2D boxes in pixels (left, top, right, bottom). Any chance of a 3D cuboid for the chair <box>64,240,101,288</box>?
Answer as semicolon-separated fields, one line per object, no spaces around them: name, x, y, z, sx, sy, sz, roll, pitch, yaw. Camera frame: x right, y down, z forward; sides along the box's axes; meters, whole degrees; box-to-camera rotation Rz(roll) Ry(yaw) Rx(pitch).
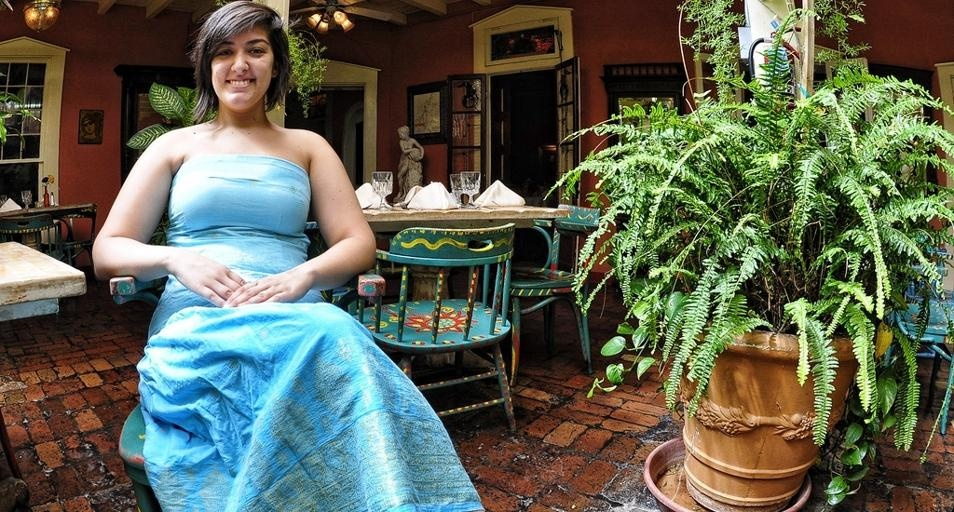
chair;-4.727;0.006;7.144;0.322;0.317;0.301;-8;9;3

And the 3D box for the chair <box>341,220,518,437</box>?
chair;-0.246;0.416;3.823;1.037;1.243;0.918;-1;8;-42

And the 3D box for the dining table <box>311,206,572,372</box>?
dining table;-0.351;-0.003;4.978;1.472;1.604;1.230;-5;32;-13
